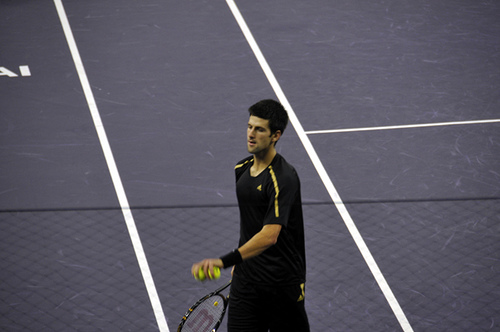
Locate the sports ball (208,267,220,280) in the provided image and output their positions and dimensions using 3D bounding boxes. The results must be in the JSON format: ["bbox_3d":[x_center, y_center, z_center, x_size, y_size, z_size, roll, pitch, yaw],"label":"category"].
[{"bbox_3d":[-0.350,1.058,5.268,0.097,0.121,0.115,-19,63,26],"label":"sports ball"}]

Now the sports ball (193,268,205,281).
[{"bbox_3d":[-0.506,1.071,5.296,0.119,0.116,0.132,23,49,-35],"label":"sports ball"}]
